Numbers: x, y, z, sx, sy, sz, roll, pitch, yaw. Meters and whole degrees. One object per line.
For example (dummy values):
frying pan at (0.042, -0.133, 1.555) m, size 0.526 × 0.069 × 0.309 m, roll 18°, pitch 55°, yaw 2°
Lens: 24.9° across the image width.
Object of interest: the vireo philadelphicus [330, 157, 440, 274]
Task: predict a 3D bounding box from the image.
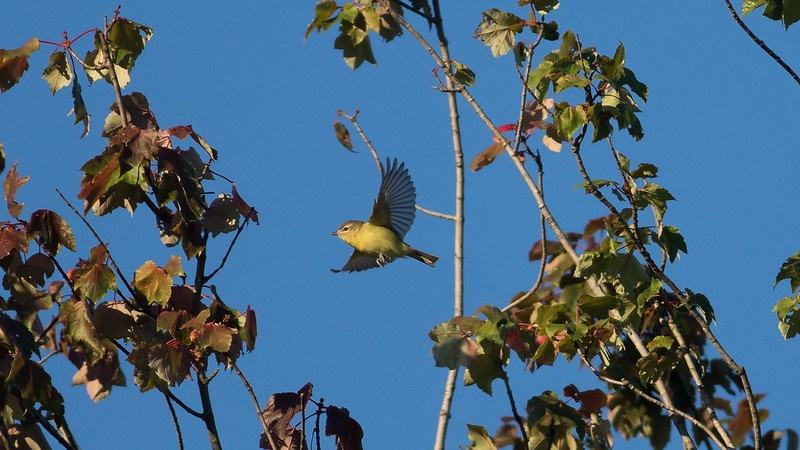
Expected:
vireo philadelphicus at (-0.116, -0.031, 15.279) m, size 0.625 × 0.394 × 1.007 m, roll -12°, pitch -42°, yaw -40°
